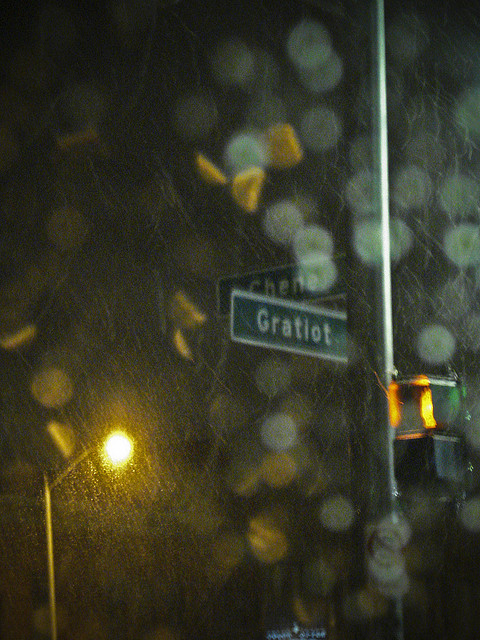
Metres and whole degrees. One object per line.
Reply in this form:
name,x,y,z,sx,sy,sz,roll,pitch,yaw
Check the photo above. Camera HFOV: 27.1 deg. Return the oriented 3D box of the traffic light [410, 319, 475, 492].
traffic light,0.403,0.150,1.875,0.159,0.303,0.053,0,-5,19
